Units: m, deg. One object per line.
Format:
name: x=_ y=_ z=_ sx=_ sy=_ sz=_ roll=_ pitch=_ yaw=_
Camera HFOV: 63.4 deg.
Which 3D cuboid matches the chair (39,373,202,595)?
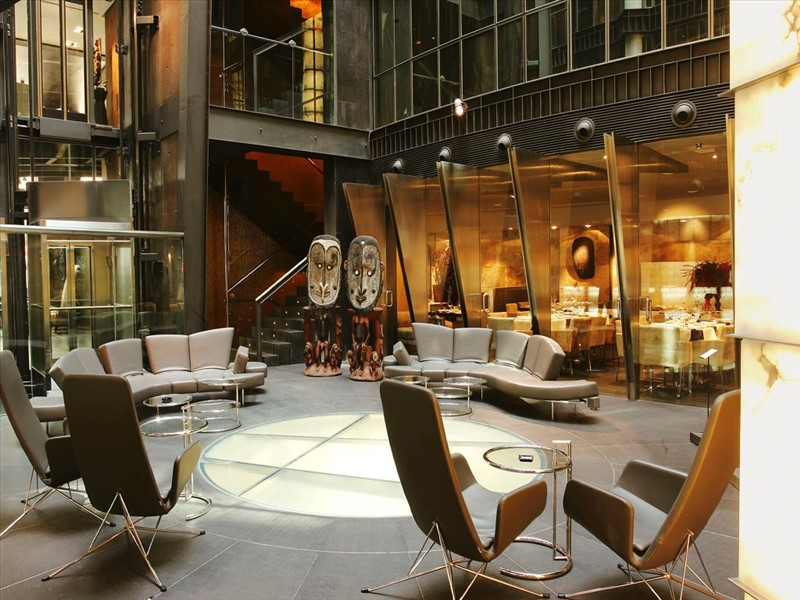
chair: x=-1.945 y=1.187 z=4.623 sx=0.883 sy=1.367 sz=0.783 roll=1 pitch=7 yaw=8
